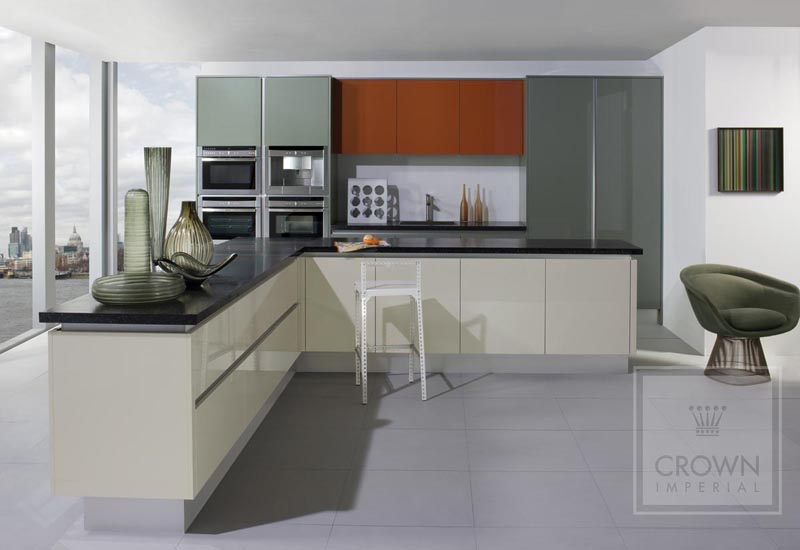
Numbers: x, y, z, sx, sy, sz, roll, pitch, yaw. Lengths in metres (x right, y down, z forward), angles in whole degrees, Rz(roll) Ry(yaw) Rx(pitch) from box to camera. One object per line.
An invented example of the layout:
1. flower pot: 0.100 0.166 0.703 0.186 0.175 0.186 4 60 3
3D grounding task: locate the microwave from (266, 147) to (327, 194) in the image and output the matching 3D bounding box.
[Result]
1. microwave: -1.172 -1.218 7.296 0.840 0.569 0.475 0 3 1

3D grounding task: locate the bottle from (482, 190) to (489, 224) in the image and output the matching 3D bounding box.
1. bottle: 1.065 -0.862 7.867 0.088 0.381 0.116 2 15 7

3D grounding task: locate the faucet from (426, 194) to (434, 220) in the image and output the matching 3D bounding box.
1. faucet: 0.381 -0.838 7.881 0.098 0.323 0.141 0 15 2

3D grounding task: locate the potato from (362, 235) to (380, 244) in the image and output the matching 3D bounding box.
1. potato: -0.256 -0.313 5.575 0.139 0.074 0.165 2 8 -3

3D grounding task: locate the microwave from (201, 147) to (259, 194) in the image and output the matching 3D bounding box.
1. microwave: -1.934 -1.082 7.348 0.722 0.533 0.476 0 1 0

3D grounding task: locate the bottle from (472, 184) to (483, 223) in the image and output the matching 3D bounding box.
1. bottle: 0.966 -0.873 7.774 0.110 0.444 0.313 2 15 8
